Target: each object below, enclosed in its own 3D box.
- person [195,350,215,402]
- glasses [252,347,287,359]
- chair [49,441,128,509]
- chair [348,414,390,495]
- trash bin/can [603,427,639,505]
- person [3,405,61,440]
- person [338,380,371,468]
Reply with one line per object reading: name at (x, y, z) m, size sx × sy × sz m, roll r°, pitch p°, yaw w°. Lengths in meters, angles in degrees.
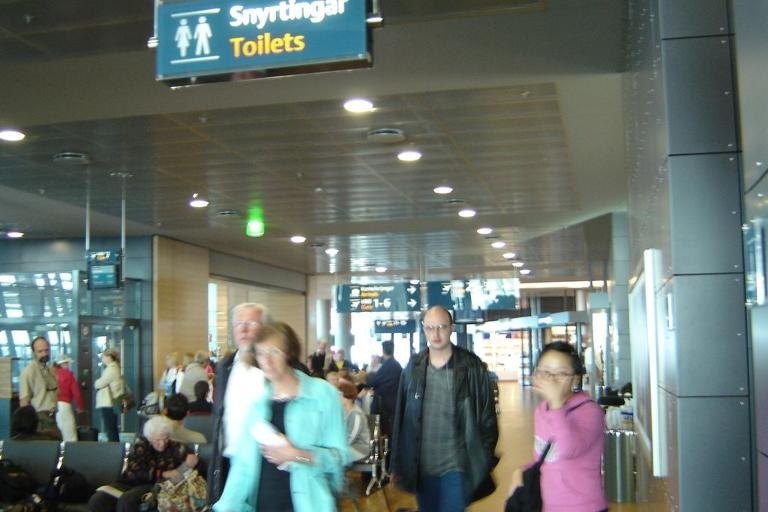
person at (-3.405, 2.174, 12.387) m, size 0.355 × 0.960 × 0.288 m, roll 8°, pitch -16°, yaw -21°
glasses at (-0.627, 0.539, 3.573) m, size 0.089 × 0.042 × 0.110 m, roll 5°, pitch -3°, yaw 11°
chair at (-2.915, 2.209, 6.633) m, size 0.748 × 0.615 × 0.602 m, roll 1°, pitch -14°, yaw 6°
chair at (-0.102, 2.554, 8.192) m, size 0.814 × 1.008 × 0.821 m, roll -3°, pitch -17°, yaw 10°
trash bin/can at (2.371, 2.115, 6.421) m, size 0.314 × 0.663 × 0.259 m, roll -2°, pitch -8°, yaw 10°
person at (-4.237, 2.051, 7.878) m, size 0.447 × 0.517 × 1.969 m, roll 3°, pitch -8°, yaw -25°
person at (-0.417, 1.963, 7.670) m, size 0.592 × 0.916 × 0.594 m, roll -6°, pitch 2°, yaw 0°
